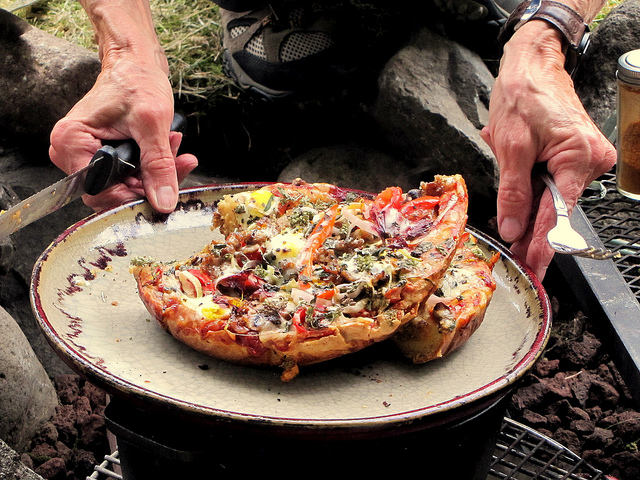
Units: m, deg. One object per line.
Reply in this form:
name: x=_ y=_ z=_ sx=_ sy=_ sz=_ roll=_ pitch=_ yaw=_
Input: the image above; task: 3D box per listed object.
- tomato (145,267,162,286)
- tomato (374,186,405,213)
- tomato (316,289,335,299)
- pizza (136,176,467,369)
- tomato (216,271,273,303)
tomato: x=-0.562 y=0.120 z=2.395 sx=0.043 sy=0.016 sz=0.055 roll=12 pitch=68 yaw=41
tomato: x=0.254 y=-0.150 z=2.572 sx=0.086 sy=0.036 sz=0.096 roll=-24 pitch=29 yaw=19
tomato: x=0.020 y=0.172 z=2.280 sx=0.057 sy=0.014 sz=0.034 roll=3 pitch=46 yaw=-8
pizza: x=-0.003 y=0.100 z=2.510 sx=1.236 sy=0.412 sz=0.751 roll=-15 pitch=39 yaw=-24
tomato: x=-0.230 y=0.130 z=2.388 sx=0.171 sy=0.085 sz=0.175 roll=-11 pitch=20 yaw=-37
